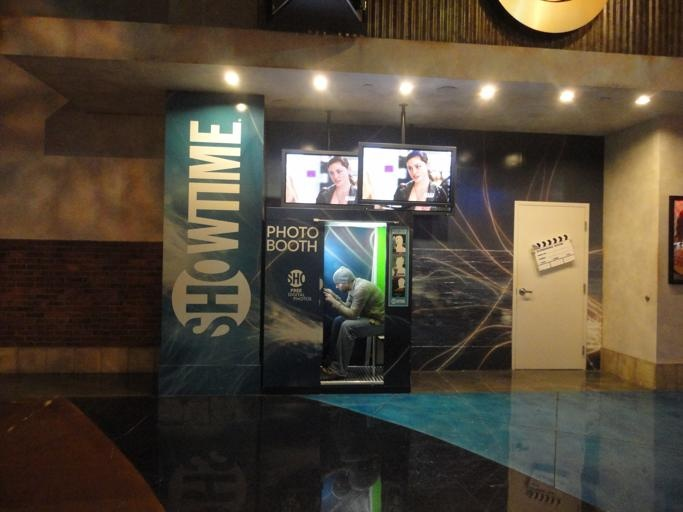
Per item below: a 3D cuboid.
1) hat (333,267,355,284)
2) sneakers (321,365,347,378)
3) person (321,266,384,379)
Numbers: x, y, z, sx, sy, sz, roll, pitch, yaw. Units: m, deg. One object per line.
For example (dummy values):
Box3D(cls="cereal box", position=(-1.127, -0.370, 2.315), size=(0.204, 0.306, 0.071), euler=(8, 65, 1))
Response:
Box3D(cls="hat", position=(0.023, 0.237, 8.733), size=(0.165, 0.191, 0.238), euler=(-6, -7, 22))
Box3D(cls="sneakers", position=(-0.105, 1.451, 8.696), size=(0.322, 0.139, 0.134), euler=(1, -5, 2))
Box3D(cls="person", position=(0.132, 0.829, 8.678), size=(0.756, 1.281, 0.470), euler=(0, 14, -1))
